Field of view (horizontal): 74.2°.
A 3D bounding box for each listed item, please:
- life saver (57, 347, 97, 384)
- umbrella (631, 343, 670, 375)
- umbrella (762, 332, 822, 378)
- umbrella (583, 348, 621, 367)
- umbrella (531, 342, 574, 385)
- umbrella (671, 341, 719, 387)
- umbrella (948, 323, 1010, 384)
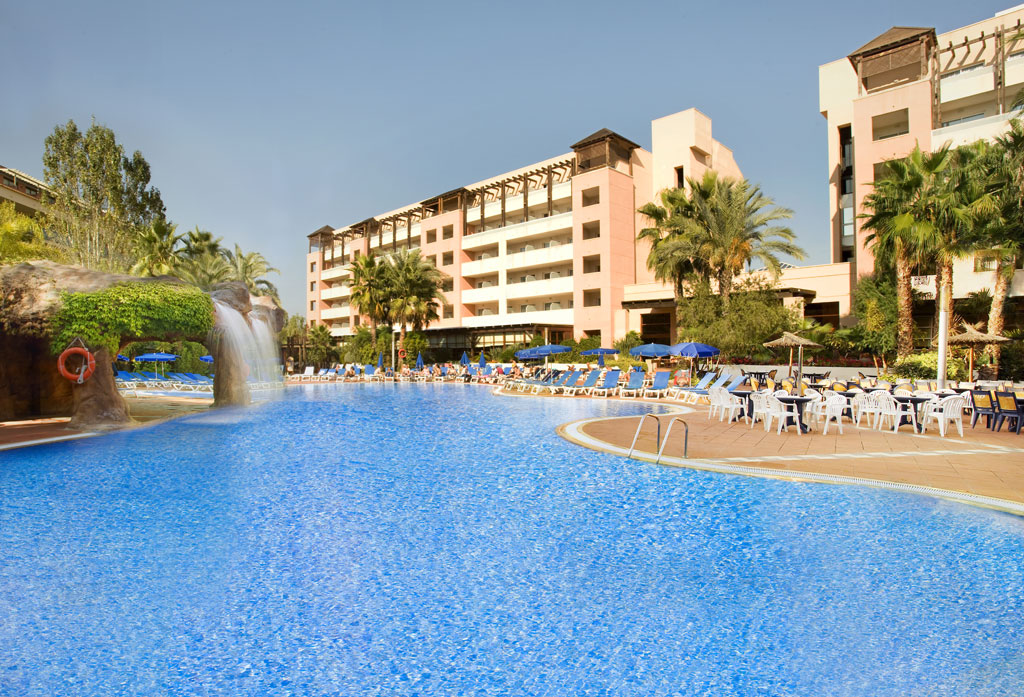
[{"bbox_3d":[-13.908,0.553,21.843,1.096,1.127,0.292,2,-2,2],"label":"life saver"},{"bbox_3d":[7.748,0.795,36.320,2.044,1.425,2.057,-2,5,-11],"label":"umbrella"},{"bbox_3d":[13.001,0.271,31.738,2.173,2.416,2.231,0,0,8],"label":"umbrella"},{"bbox_3d":[5.661,0.404,42.416,1.517,1.065,1.545,0,-2,9],"label":"umbrella"},{"bbox_3d":[2.593,0.886,43.201,2.192,2.382,2.173,-7,8,-28],"label":"umbrella"},{"bbox_3d":[8.906,0.781,32.716,2.128,1.909,2.166,1,9,23],"label":"umbrella"},{"bbox_3d":[18.907,0.287,27.416,2.408,2.138,2.421,-1,1,-22],"label":"umbrella"}]
